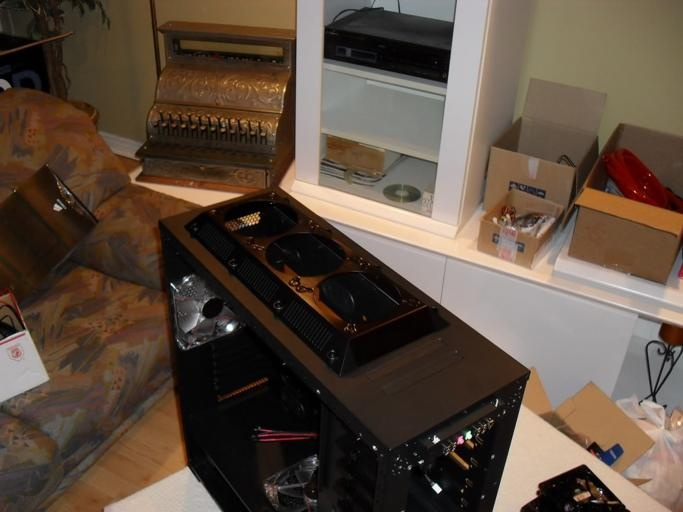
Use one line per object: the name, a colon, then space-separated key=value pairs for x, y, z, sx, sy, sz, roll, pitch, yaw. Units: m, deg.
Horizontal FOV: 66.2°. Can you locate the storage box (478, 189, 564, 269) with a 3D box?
storage box: x=0.745 y=-0.124 z=2.154 sx=0.249 sy=0.162 sz=0.336 roll=23 pitch=40 yaw=33

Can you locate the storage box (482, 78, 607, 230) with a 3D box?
storage box: x=0.869 y=-0.459 z=2.234 sx=0.366 sy=0.349 sz=0.512 roll=16 pitch=44 yaw=25
